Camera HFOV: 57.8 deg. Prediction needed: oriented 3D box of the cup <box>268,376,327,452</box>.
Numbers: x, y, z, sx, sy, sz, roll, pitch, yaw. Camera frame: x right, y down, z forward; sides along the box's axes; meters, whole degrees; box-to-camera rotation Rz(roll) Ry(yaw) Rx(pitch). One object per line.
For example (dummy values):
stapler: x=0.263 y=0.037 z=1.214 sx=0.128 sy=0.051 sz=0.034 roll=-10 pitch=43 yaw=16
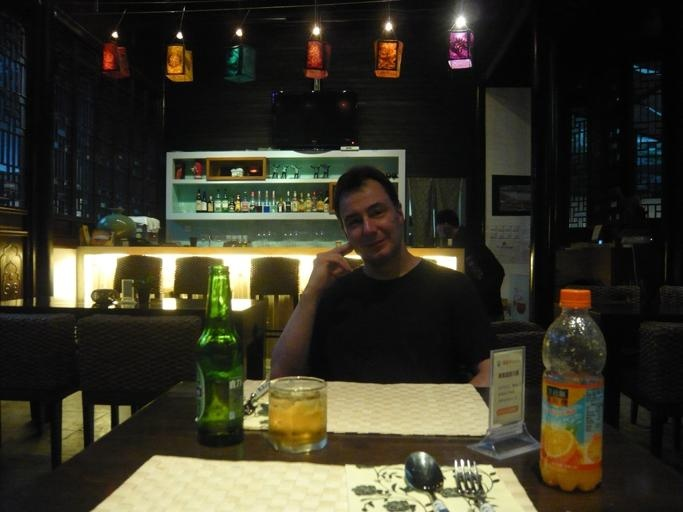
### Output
cup: x=-0.148 y=0.513 z=2.065 sx=0.188 sy=0.201 sz=0.208 roll=0 pitch=-1 yaw=-42

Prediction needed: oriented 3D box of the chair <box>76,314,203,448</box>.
chair: x=-0.961 y=0.595 z=3.305 sx=0.641 sy=0.812 sz=0.625 roll=0 pitch=0 yaw=-3

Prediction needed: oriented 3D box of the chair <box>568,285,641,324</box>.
chair: x=1.428 y=0.264 z=3.310 sx=0.264 sy=0.163 sz=0.194 roll=-1 pitch=10 yaw=0

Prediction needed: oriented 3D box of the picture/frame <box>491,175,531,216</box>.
picture/frame: x=2.196 y=-0.778 z=8.110 sx=0.518 sy=0.500 sz=0.051 roll=12 pitch=-6 yaw=1

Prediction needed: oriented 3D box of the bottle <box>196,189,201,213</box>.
bottle: x=-1.891 y=-0.731 z=8.155 sx=0.073 sy=0.269 sz=0.283 roll=-2 pitch=11 yaw=-12

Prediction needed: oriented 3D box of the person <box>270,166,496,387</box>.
person: x=0.164 y=0.188 z=2.776 sx=1.044 sy=1.134 sz=0.651 roll=-5 pitch=-10 yaw=13

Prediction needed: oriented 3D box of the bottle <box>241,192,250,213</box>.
bottle: x=-1.255 y=-0.706 z=8.079 sx=0.137 sy=0.229 sz=0.245 roll=-1 pitch=11 yaw=-7
